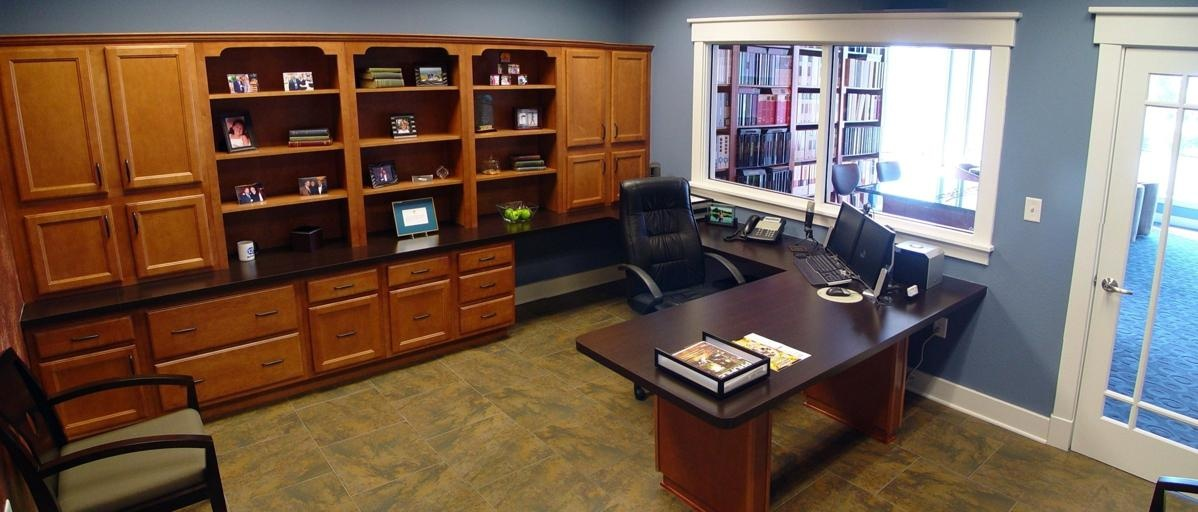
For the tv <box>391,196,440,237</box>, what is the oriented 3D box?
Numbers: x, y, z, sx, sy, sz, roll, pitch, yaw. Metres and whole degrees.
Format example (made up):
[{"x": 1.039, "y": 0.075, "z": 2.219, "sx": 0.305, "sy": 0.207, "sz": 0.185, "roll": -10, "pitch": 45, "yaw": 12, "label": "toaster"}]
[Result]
[{"x": -2.270, "y": -0.470, "z": 8.240, "sx": 0.643, "sy": 0.408, "sz": 0.074, "roll": -6, "pitch": -1, "yaw": -22, "label": "tv"}]

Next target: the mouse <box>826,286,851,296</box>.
[{"x": 2.547, "y": 0.380, "z": 7.184, "sx": 0.175, "sy": 0.037, "sz": 0.103, "roll": -1, "pitch": 19, "yaw": 0, "label": "mouse"}]

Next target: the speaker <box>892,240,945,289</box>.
[{"x": 3.429, "y": 0.111, "z": 7.271, "sx": 0.391, "sy": 0.389, "sz": 0.506, "roll": -17, "pitch": 23, "yaw": -39, "label": "speaker"}]

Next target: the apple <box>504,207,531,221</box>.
[{"x": -1.024, "y": -0.522, "z": 8.523, "sx": 0.296, "sy": 0.077, "sz": 0.190, "roll": -4, "pitch": 12, "yaw": -18, "label": "apple"}]

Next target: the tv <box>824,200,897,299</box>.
[{"x": 2.840, "y": -0.032, "z": 7.374, "sx": 0.317, "sy": 0.653, "sz": 1.025, "roll": -5, "pitch": 29, "yaw": -14, "label": "tv"}]

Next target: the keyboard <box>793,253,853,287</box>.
[{"x": 2.491, "y": 0.162, "z": 7.490, "sx": 0.432, "sy": 0.086, "sz": 0.513, "roll": 1, "pitch": 25, "yaw": -8, "label": "keyboard"}]

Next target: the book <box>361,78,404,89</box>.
[{"x": -2.576, "y": -2.043, "z": 7.935, "sx": 0.263, "sy": 0.052, "sz": 0.247, "roll": 5, "pitch": 10, "yaw": 31, "label": "book"}]

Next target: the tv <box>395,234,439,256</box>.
[{"x": -2.191, "y": -0.144, "z": 8.034, "sx": 0.432, "sy": 0.077, "sz": 0.237, "roll": -8, "pitch": 32, "yaw": -18, "label": "tv"}]

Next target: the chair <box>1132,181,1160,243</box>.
[{"x": 5.407, "y": -0.450, "z": 6.696, "sx": 0.184, "sy": 0.539, "sz": 0.265, "roll": 9, "pitch": 26, "yaw": 25, "label": "chair"}]
